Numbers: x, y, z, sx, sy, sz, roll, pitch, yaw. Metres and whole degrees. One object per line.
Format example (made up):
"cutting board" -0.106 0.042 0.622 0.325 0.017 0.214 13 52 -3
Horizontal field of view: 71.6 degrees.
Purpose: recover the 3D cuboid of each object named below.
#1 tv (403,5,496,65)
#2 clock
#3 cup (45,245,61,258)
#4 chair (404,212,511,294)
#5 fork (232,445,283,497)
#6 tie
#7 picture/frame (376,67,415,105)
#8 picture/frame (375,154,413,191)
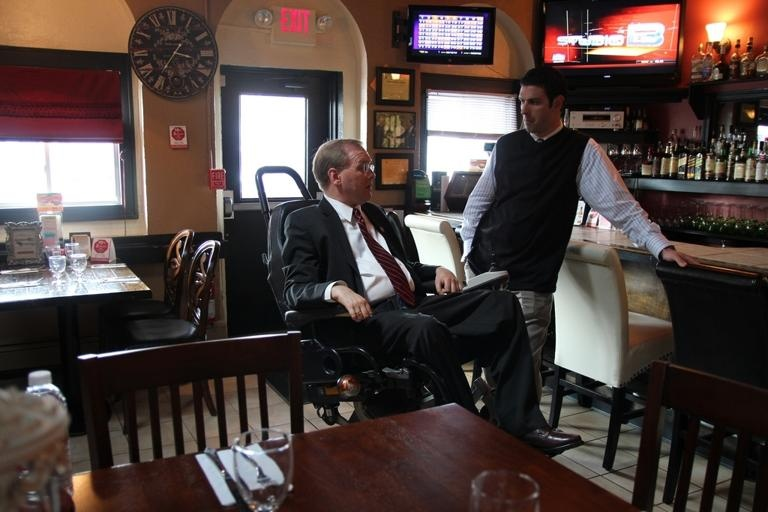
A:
"tv" 0.584 -1.975 4.737 0.565 0.339 0.075 1 3 -3
"clock" -1.606 -1.540 3.993 0.792 0.759 0.071 -1 4 -30
"cup" -2.182 -0.035 3.520 0.089 0.061 0.087 1 0 0
"chair" 0.426 -0.079 3.381 0.467 0.579 0.453 -9 14 -20
"fork" -0.271 0.457 1.141 0.069 0.019 0.116 -19 50 -25
"tie" -0.009 0.017 2.741 0.121 0.626 0.094 -30 -14 -7
"picture/frame" 0.087 -1.561 4.850 0.378 0.301 0.029 -4 10 -28
"picture/frame" 0.079 -0.792 4.995 0.449 0.371 0.047 -4 10 -30
